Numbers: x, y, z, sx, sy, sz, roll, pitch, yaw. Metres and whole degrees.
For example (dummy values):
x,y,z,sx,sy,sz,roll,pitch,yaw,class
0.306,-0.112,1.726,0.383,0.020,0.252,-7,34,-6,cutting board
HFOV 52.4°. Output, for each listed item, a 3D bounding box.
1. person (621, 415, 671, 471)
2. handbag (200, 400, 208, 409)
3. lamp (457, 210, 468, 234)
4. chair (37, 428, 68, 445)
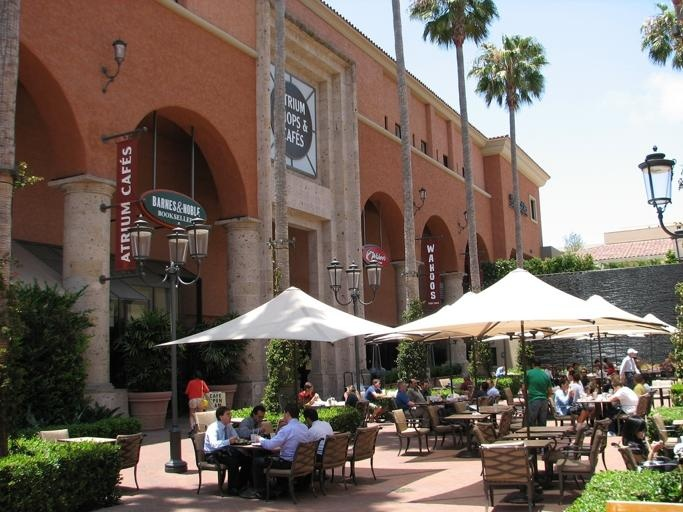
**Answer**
x,y,z,sx,sy,sz,roll,pitch,yaw,class
5.879,3.858,13.331,0.883,1.521,0.714,-6,-5,27,person
-4.034,4.379,20.602,0.248,0.264,0.236,3,-7,11,handbag
7.486,-2.217,42.525,0.386,1.765,1.428,-7,-13,24,lamp
-6.006,3.744,14.576,0.499,0.473,0.490,12,-27,-24,chair
